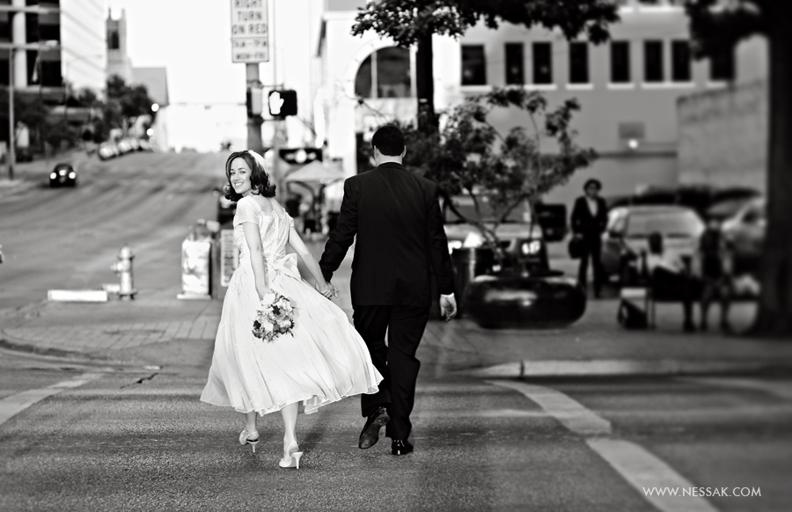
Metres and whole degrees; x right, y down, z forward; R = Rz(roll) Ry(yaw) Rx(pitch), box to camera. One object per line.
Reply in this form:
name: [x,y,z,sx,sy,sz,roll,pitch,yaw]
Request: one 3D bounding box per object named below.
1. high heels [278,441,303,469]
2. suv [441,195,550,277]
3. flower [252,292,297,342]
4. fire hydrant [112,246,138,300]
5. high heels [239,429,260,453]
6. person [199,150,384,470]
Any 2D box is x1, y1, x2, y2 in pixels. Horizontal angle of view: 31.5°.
high heels: [-0.936,1.802,12.629,0.142,0.125,0.267,-3,6,-14]
suv: [1.328,-0.232,20.159,1.478,1.625,2.954,-1,3,-1]
flower: [-1.080,0.520,12.659,0.388,0.194,0.463,8,29,-31]
fire hydrant: [-4.078,0.279,21.067,0.293,0.903,1.221,-1,7,-8]
high heels: [-1.375,1.710,13.149,0.105,0.118,0.289,-8,19,-25]
person: [-1.036,0.460,12.826,1.503,2.799,0.824,-1,7,-6]
